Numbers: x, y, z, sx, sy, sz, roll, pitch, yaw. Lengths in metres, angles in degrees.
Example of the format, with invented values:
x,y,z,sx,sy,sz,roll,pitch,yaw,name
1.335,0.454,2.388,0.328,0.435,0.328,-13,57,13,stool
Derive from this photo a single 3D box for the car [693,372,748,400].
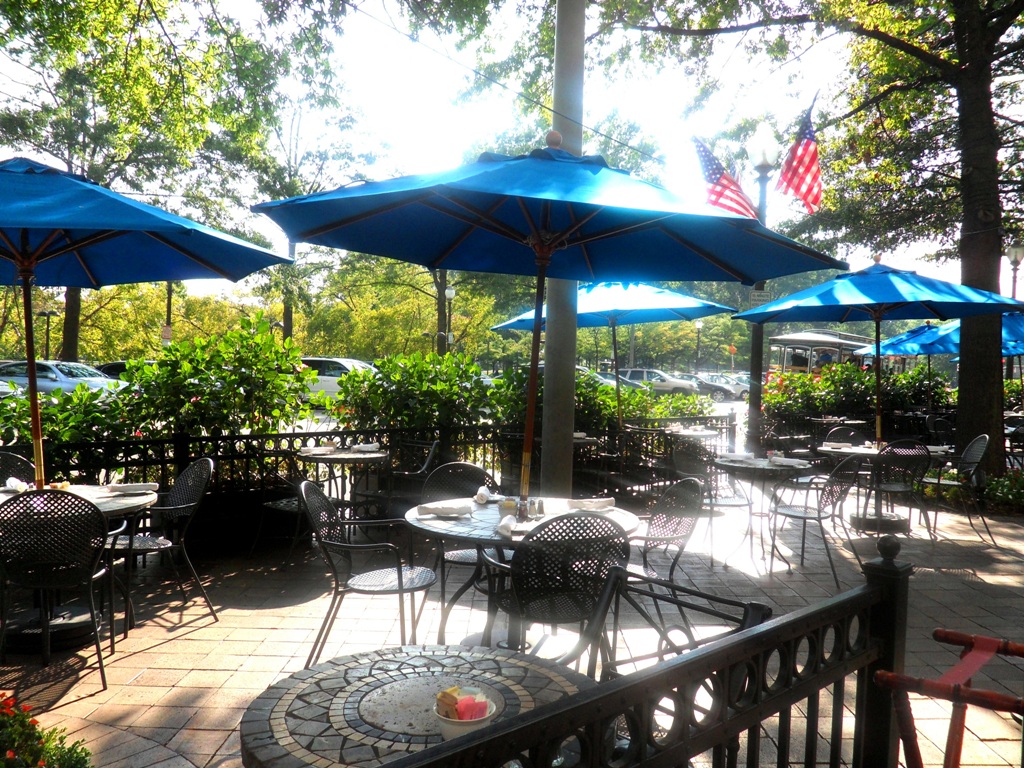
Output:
x,y,z,sx,sy,sz,roll,pitch,yaw,name
10.955,0.091,44.357,1.318,0.701,2.324,10,12,21,car

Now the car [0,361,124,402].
x,y,z,sx,sy,sz,roll,pitch,yaw,name
-8.103,-0.080,15.000,1.825,0.600,0.825,-1,3,-15,car

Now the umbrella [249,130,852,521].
x,y,z,sx,sy,sz,roll,pitch,yaw,name
0.188,-0.697,6.141,2.859,2.102,2.975,-4,1,39,umbrella

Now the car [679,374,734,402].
x,y,z,sx,sy,sz,roll,pitch,yaw,name
8.930,0.154,38.719,2.367,0.735,1.347,4,7,-12,car

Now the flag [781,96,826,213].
x,y,z,sx,sy,sz,roll,pitch,yaw,name
4.578,-3.622,13.247,0.642,1.874,0.141,16,-20,-5,flag
